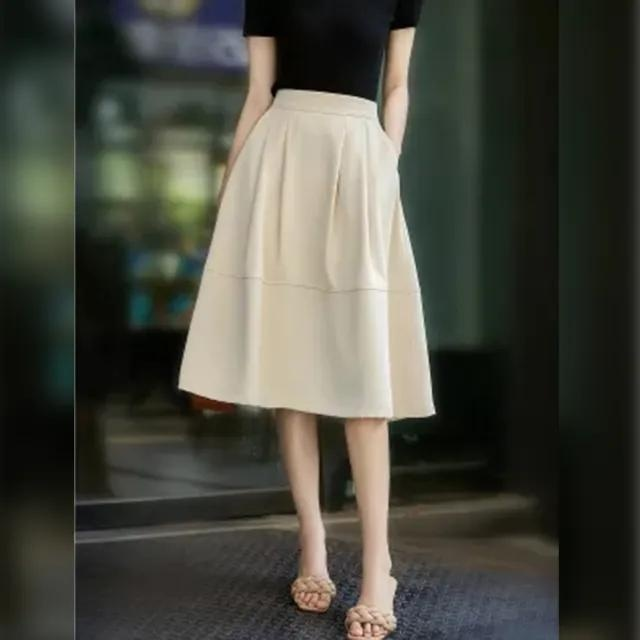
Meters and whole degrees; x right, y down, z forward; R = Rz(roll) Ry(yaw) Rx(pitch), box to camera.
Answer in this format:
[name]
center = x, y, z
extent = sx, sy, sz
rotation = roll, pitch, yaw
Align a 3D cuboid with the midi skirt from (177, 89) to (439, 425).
[midi skirt]
center = -0.048, -0.111, 1.531
extent = 0.449, 0.663, 0.318
rotation = 7, -3, 6
